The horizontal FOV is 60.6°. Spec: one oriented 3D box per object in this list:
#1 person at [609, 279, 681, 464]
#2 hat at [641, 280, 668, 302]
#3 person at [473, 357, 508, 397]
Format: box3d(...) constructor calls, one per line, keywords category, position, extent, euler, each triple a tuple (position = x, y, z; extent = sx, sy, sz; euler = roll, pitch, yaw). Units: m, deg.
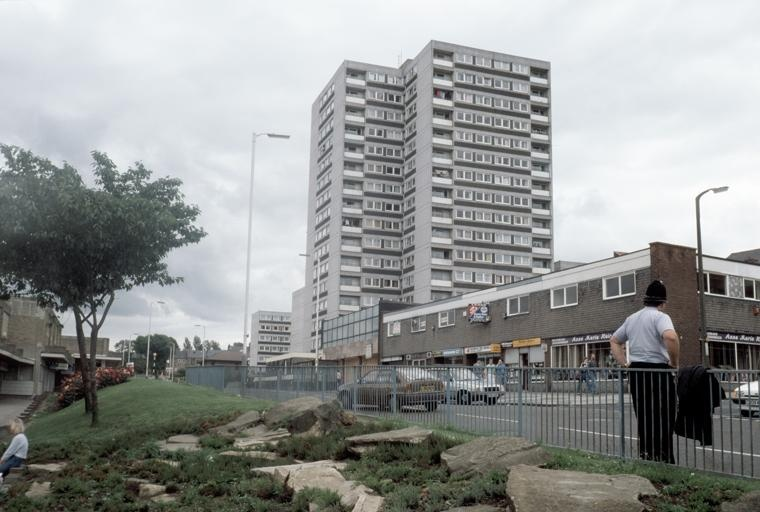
box3d(category="person", position=(5.108, 2.109, 12.459), extent=(1.142, 3.527, 1.204), euler=(-3, -14, 21))
box3d(category="hat", position=(5.303, 0.671, 12.437), extent=(0.396, 0.256, 0.403), euler=(1, -3, -7))
box3d(category="person", position=(3.100, 3.313, 17.095), extent=(0.601, 1.112, 2.070), euler=(1, -16, -5))
